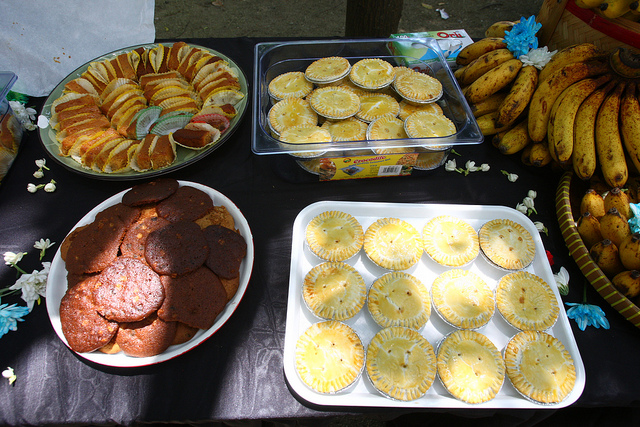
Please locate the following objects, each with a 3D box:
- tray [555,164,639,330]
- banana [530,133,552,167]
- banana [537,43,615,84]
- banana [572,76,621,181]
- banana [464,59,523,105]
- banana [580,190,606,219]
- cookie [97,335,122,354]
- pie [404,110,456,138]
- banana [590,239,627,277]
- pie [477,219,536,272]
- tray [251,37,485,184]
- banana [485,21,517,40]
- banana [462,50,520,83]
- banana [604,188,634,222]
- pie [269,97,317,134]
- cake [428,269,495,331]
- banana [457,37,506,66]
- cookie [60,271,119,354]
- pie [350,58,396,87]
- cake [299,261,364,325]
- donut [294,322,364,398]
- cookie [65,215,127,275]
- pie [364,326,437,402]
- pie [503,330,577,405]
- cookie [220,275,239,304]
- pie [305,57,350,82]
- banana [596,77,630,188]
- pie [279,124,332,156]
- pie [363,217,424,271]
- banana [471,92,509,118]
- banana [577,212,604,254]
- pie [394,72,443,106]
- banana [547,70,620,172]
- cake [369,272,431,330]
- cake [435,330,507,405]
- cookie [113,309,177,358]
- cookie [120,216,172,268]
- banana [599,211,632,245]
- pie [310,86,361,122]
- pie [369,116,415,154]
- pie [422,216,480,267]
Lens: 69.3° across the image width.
[{"bbox_3d":[1.466,0.200,2.556,0.096,0.587,0.721,-35,88,17],"label":"tray"},{"bbox_3d":[1.323,-0.374,2.784,0.098,0.067,0.203,4,60,28],"label":"banana"},{"bbox_3d":[1.538,-0.884,2.768,0.377,0.133,0.105,-24,96,5],"label":"banana"},{"bbox_3d":[1.573,-0.474,2.710,0.133,0.205,0.641,13,78,17],"label":"banana"},{"bbox_3d":[1.082,-0.803,2.863,0.335,0.112,0.110,-35,89,6],"label":"banana"},{"bbox_3d":[1.536,-0.044,2.617,0.096,0.111,0.159,-14,100,20],"label":"banana"},{"bbox_3d":[-1.074,0.669,2.357,0.093,0.041,0.095,-22,96,-4],"label":"cookie"},{"bbox_3d":[0.642,-0.515,2.727,0.199,0.065,0.202,7,54,6],"label":"pie"},{"bbox_3d":[1.545,0.240,2.556,0.120,0.108,0.235,-38,98,11],"label":"banana"},{"bbox_3d":[1.121,0.135,2.688,0.274,0.074,0.277,-14,31,-15],"label":"pie"},{"bbox_3d":[0.274,-0.562,2.970,1.234,0.414,0.939,-4,61,-2],"label":"tray"},{"bbox_3d":[1.206,-1.222,3.176,0.127,0.219,0.129,-8,100,-33],"label":"banana"},{"bbox_3d":[1.105,-0.922,3.006,0.292,0.090,0.228,-34,48,23],"label":"banana"},{"bbox_3d":[1.640,-0.055,2.602,0.107,0.113,0.194,-8,71,-35],"label":"banana"},{"bbox_3d":[-0.174,-0.595,2.819,0.224,0.067,0.228,-12,65,-3],"label":"pie"},{"bbox_3d":[0.771,0.470,2.547,0.347,0.103,0.344,-3,72,2],"label":"cake"},{"bbox_3d":[1.053,-1.042,3.016,0.279,0.091,0.094,-24,89,38],"label":"banana"},{"bbox_3d":[-1.189,0.513,2.365,0.256,0.064,0.360,-29,73,-7],"label":"cookie"},{"bbox_3d":[0.327,-0.885,2.937,0.222,0.227,0.065,-9,44,-12],"label":"pie"},{"bbox_3d":[0.069,0.430,2.538,0.351,0.114,0.317,-20,72,-4],"label":"cake"},{"bbox_3d":[0.041,0.736,2.371,0.346,0.045,0.361,37,77,13],"label":"donut"},{"bbox_3d":[-1.169,0.178,2.503,0.224,0.038,0.306,38,74,21],"label":"cookie"},{"bbox_3d":[0.407,0.764,2.372,0.359,0.050,0.360,31,76,12],"label":"pie"},{"bbox_3d":[1.135,0.778,2.404,0.353,0.078,0.359,-5,61,7],"label":"pie"},{"bbox_3d":[-0.454,0.397,2.441,0.113,0.026,0.108,4,67,-27],"label":"cookie"},{"bbox_3d":[0.061,-0.938,2.925,0.262,0.271,0.079,-12,81,-13],"label":"pie"},{"bbox_3d":[1.648,-0.486,2.712,0.124,0.205,0.627,2,69,19],"label":"banana"},{"bbox_3d":[-0.082,-0.464,2.700,0.299,0.110,0.174,0,72,3],"label":"pie"},{"bbox_3d":[0.418,0.179,2.671,0.325,0.084,0.348,27,59,14],"label":"pie"},{"bbox_3d":[1.053,-0.674,2.876,0.251,0.082,0.067,-28,72,-8],"label":"banana"},{"bbox_3d":[1.488,0.110,2.612,0.100,0.079,0.220,-16,86,-27],"label":"banana"},{"bbox_3d":[0.598,-0.776,2.889,0.279,0.287,0.102,-4,42,20],"label":"pie"},{"bbox_3d":[1.539,-0.530,2.683,0.196,0.154,0.601,32,83,-22],"label":"banana"},{"bbox_3d":[0.430,0.475,2.533,0.324,0.104,0.303,0,72,3],"label":"cake"},{"bbox_3d":[0.767,0.790,2.368,0.305,0.093,0.308,-12,66,-6],"label":"cake"},{"bbox_3d":[-0.886,0.610,2.364,0.260,0.063,0.249,31,76,12],"label":"cookie"},{"bbox_3d":[-0.946,0.152,2.607,0.060,0.263,0.251,6,76,18],"label":"cookie"},{"bbox_3d":[1.593,0.061,2.556,0.120,0.113,0.184,21,35,12],"label":"banana"},{"bbox_3d":[0.101,-0.673,2.816,0.231,0.065,0.233,29,57,17],"label":"pie"},{"bbox_3d":[0.407,-0.456,2.711,0.243,0.085,0.272,-11,72,-1],"label":"pie"},{"bbox_3d":[0.738,0.162,2.679,0.318,0.078,0.325,7,61,3],"label":"pie"}]
